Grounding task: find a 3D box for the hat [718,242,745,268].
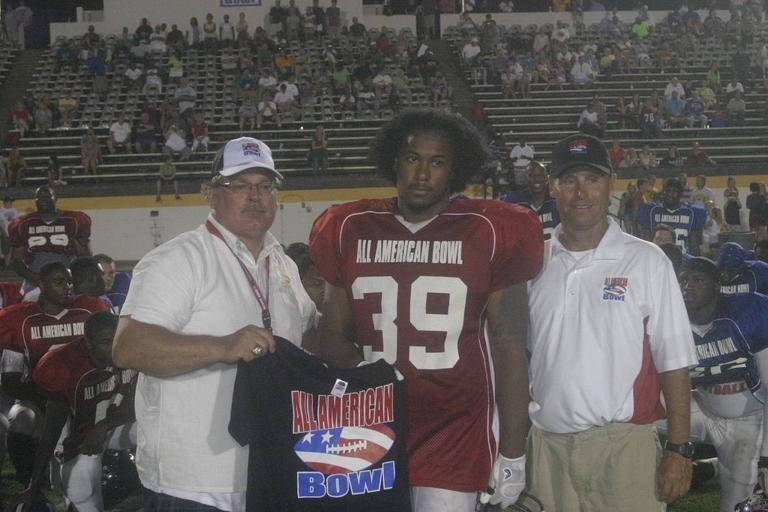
[{"bbox_3d":[6.693,-0.021,23.403,0.490,0.446,0.216,-1,0,16],"label":"hat"}]
